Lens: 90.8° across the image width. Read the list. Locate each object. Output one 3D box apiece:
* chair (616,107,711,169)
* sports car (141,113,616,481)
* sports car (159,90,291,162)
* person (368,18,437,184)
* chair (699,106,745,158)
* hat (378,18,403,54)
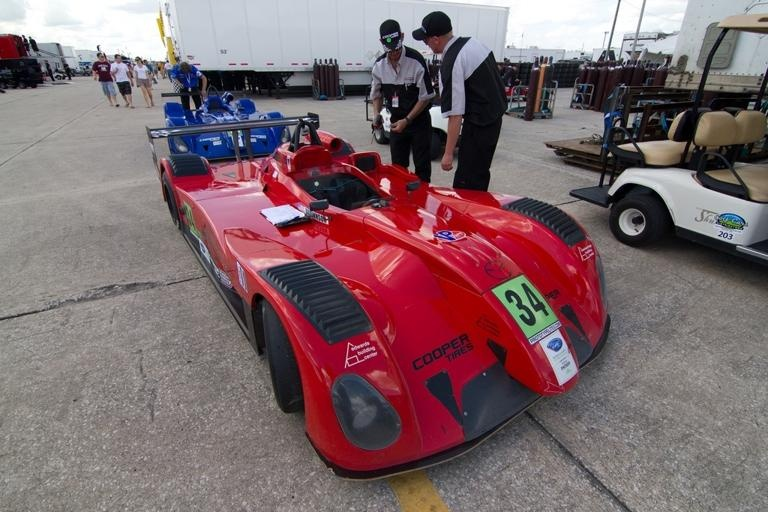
[{"bbox_3d":[3.247,-1.440,4.635,1.027,0.612,0.951,-22,26,-39],"label":"chair"},{"bbox_3d":[-0.470,-0.345,4.074,3.024,1.533,5.159,-17,35,-34],"label":"sports car"},{"bbox_3d":[-3.520,-2.913,8.138,2.135,1.030,3.325,-15,31,-27],"label":"sports car"},{"bbox_3d":[0.231,-1.681,4.899,0.771,2.320,0.772,5,31,17],"label":"person"},{"bbox_3d":[3.389,-1.272,3.882,0.386,0.389,0.205,-1,8,-11],"label":"chair"},{"bbox_3d":[0.070,-2.444,4.225,0.266,0.338,0.321,-6,31,-5],"label":"hat"}]
